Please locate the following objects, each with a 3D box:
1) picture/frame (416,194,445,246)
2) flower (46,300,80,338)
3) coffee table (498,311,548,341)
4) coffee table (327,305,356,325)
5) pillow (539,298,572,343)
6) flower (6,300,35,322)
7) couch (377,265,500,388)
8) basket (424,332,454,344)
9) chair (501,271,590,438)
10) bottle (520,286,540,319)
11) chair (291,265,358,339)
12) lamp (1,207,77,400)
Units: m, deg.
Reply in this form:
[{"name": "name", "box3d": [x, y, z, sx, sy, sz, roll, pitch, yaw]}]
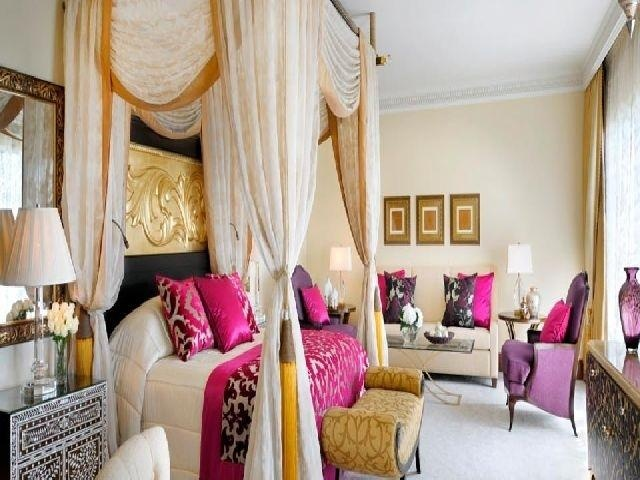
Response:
[{"name": "picture/frame", "box3d": [1.616, -0.274, 7.397, 0.418, 0.905, 0.067, -1, -35, 14]}, {"name": "flower", "box3d": [-1.778, 0.580, 3.589, 0.135, 0.213, 0.172, 5, 8, -3]}, {"name": "coffee table", "box3d": [2.535, 1.038, 6.482, 0.391, 0.550, 0.438, -1, -4, -5]}, {"name": "coffee table", "box3d": [0.284, 0.949, 6.843, 0.255, 0.362, 0.284, -1, -1, 31]}, {"name": "pillow", "box3d": [2.488, 0.882, 5.309, 0.192, 0.552, 0.566, 6, 5, 20]}, {"name": "flower", "box3d": [-2.140, 0.509, 3.592, 0.113, 0.161, 0.115, -12, -2, 37]}, {"name": "couch", "box3d": [1.669, 1.081, 6.855, 1.406, 1.483, 0.912, 1, -9, 21]}, {"name": "basket", "box3d": [1.299, 1.073, 5.487, 0.298, 0.088, 0.234, 1, -1, 13]}, {"name": "chair", "box3d": [2.412, 1.059, 5.425, 0.774, 1.666, 1.089, 2, 10, 18]}, {"name": "bottle", "box3d": [2.722, 0.815, 6.504, 0.224, 0.503, 0.261, 3, -9, -4]}, {"name": "chair", "box3d": [0.108, 0.851, 6.478, 0.559, 0.876, 0.523, -6, -3, -27]}, {"name": "lamp", "box3d": [-1.910, 0.406, 3.411, 0.378, 1.267, 0.236, 1, 0, 4]}]
